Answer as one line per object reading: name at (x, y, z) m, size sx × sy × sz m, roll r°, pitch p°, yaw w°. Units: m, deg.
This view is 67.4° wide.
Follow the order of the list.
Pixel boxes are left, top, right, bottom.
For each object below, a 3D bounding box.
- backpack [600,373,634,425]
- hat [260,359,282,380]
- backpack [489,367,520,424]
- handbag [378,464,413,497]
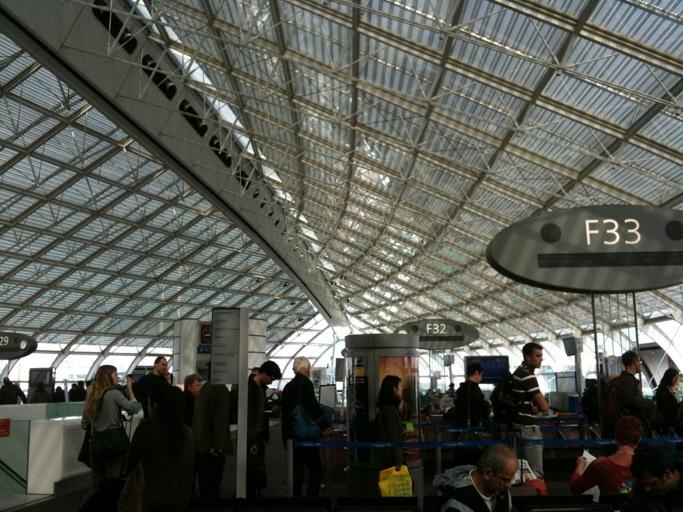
backpack at (3.796, 1.963, 7.110) m, size 0.230 × 0.727 × 0.595 m, roll 8°, pitch -22°, yaw -23°
hat at (-1.069, 1.675, 7.622) m, size 0.297 × 0.309 × 0.754 m, roll 2°, pitch -18°, yaw -8°
backpack at (2.428, 2.124, 7.691) m, size 0.343 × 0.774 × 0.547 m, roll -6°, pitch -21°, yaw 12°
handbag at (0.604, 2.510, 5.691) m, size 0.350 × 0.307 × 1.003 m, roll -2°, pitch -18°, yaw 4°
